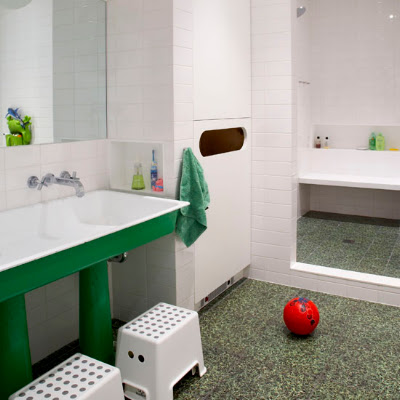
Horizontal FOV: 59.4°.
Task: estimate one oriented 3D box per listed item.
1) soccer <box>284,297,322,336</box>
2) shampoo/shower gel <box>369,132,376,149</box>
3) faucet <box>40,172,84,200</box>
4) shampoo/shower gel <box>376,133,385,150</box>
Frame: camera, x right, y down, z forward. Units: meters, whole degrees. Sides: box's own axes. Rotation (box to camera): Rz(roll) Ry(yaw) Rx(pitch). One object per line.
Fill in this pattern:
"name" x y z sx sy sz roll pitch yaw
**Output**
"soccer" 0.598 0.690 2.128 0.202 0.236 0.198 -12 16 -38
"shampoo/shower gel" 2.237 -0.761 4.567 0.085 0.208 0.079 5 12 26
"faucet" -0.686 -0.095 1.777 0.188 0.104 0.170 7 13 27
"shampoo/shower gel" 2.308 -0.739 4.499 0.104 0.205 0.071 3 11 17
